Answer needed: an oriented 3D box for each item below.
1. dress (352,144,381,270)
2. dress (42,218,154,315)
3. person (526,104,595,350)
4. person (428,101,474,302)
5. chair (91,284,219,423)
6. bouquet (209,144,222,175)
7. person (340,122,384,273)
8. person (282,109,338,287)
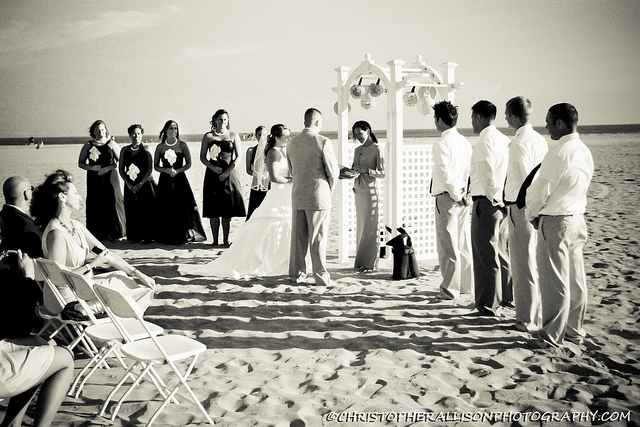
[{"bbox_3d":[0.908,0.285,14.048,0.554,1.675,0.280,-4,9,1],"label":"dress"},{"bbox_3d":[-3.377,0.782,10.637,1.517,1.439,0.630,-1,9,14],"label":"dress"},{"bbox_3d":[3.736,0.198,11.096,0.945,3.785,0.512,-7,10,-22],"label":"person"},{"bbox_3d":[2.309,-0.228,12.534,0.879,3.504,0.603,-8,10,-28],"label":"person"},{"bbox_3d":[-2.395,1.917,10.291,1.471,1.942,0.981,-4,9,-5],"label":"chair"},{"bbox_3d":[-2.274,-1.246,15.408,0.232,0.439,0.283,-14,-11,-20],"label":"bouquet"},{"bbox_3d":[0.901,-0.331,14.002,0.644,2.942,0.604,0,9,21],"label":"person"},{"bbox_3d":[-0.160,-0.273,13.162,1.011,3.268,0.499,-3,9,5],"label":"person"}]
